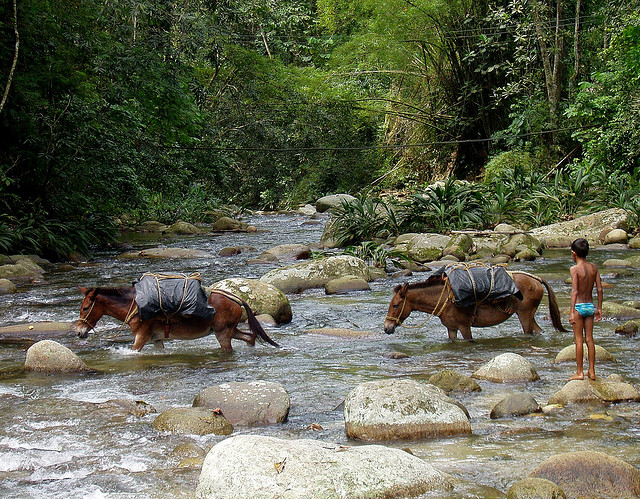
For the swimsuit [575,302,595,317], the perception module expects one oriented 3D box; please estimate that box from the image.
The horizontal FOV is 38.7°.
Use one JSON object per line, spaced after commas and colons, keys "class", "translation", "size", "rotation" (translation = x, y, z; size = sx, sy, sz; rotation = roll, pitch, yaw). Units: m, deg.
{"class": "swimsuit", "translation": [3.409, 0.770, 11.688], "size": [0.293, 0.152, 0.174], "rotation": [4, 3, 7]}
